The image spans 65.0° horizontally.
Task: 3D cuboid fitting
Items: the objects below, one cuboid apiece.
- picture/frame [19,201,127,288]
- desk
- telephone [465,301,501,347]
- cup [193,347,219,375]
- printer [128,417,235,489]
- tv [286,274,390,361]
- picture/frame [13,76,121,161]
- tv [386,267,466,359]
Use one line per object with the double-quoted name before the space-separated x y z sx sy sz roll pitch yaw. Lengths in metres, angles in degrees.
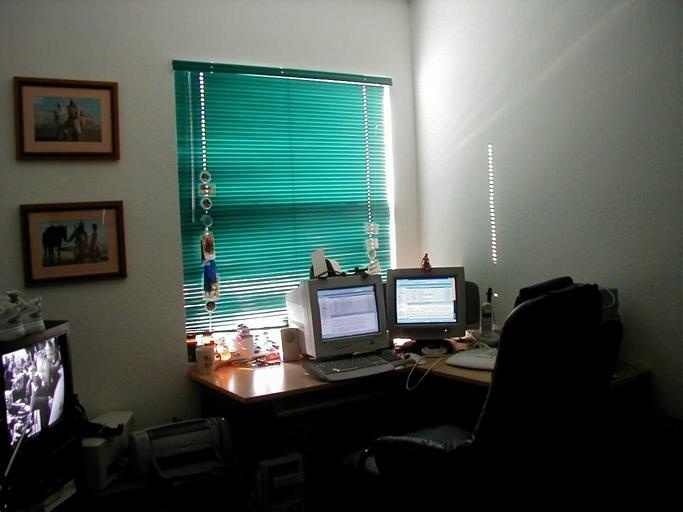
"picture/frame" -1.651 -0.074 3.237 0.483 0.449 0.034 -4 -2 -24
"desk" -0.123 1.009 3.404 1.195 0.802 1.180 6 -9 -41
"telephone" 0.927 0.431 3.439 0.161 0.265 0.227 -1 11 -1
"cup" -0.841 0.645 3.348 0.120 0.132 0.108 -8 5 -16
"printer" -0.876 1.094 2.985 0.546 0.271 0.321 -9 5 -25
"tv" -0.035 0.383 3.505 0.512 0.445 0.554 -5 -19 -21
"picture/frame" -1.687 -0.829 3.237 0.503 0.450 0.041 -3 -2 -23
"tv" 0.548 0.327 3.704 0.714 0.809 0.464 -1 -10 4
